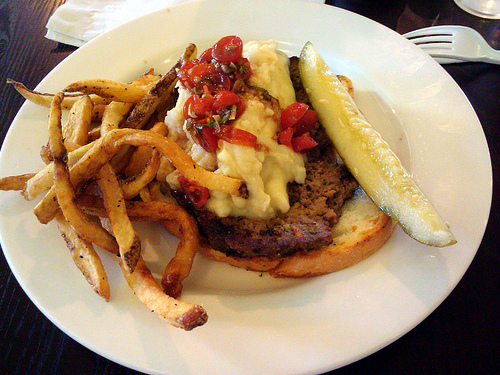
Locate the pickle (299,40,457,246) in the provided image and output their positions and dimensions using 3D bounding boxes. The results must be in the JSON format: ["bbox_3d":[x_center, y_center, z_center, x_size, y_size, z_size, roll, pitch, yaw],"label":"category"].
[{"bbox_3d":[0.889,-0.412,4.011,0.382,0.495,2.647,-41,49,22],"label":"pickle"}]
